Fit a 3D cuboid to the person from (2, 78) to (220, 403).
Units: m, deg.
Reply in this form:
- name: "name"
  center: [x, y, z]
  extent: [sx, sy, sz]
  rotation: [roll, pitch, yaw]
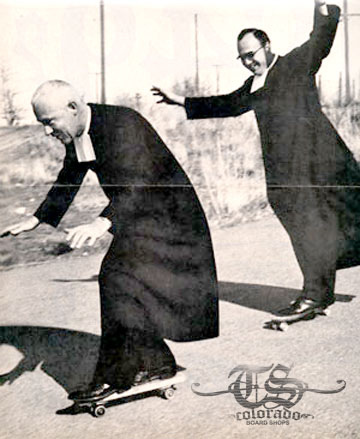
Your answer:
- name: "person"
  center: [-0.328, 0.100, 4.977]
  extent: [1.155, 2.013, 0.305]
  rotation: [-5, 7, -13]

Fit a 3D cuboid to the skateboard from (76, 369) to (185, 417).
- name: "skateboard"
  center: [-0.276, 1.019, 4.922]
  extent: [0.557, 0.139, 0.291]
  rotation: [-12, -13, -10]
